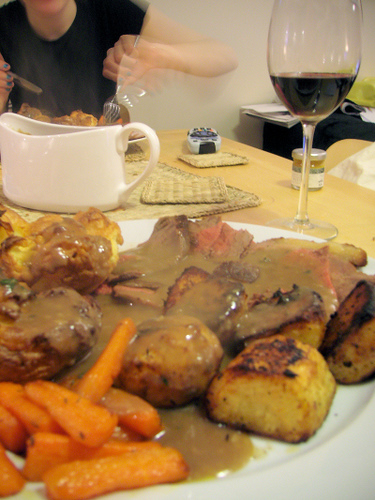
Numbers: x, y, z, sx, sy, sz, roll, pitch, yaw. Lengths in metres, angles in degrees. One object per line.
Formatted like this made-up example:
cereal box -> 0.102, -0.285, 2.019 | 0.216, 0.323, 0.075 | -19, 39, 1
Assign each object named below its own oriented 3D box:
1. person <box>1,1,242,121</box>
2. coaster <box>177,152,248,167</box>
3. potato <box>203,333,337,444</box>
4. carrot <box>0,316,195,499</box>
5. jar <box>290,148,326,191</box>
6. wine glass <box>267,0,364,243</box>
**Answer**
person -> -0.400, -1.128, 2.466 | 1.353, 0.446, 1.269 | 9, 31, 14
coaster -> 0.083, -0.301, 1.431 | 0.197, 0.022, 0.137 | -9, 19, -27
potato -> 0.081, 0.116, 0.390 | 0.094, 0.044, 0.088 | 7, 24, 27
carrot -> -0.083, 0.119, 0.323 | 0.089, 0.017, 0.093 | 5, 28, 6
jar -> 0.330, -0.227, 1.202 | 0.099, 0.112, 0.104 | 1, 14, 0
wine glass -> 0.233, -0.242, 0.822 | 0.178, 0.427, 0.236 | 4, 28, 9
